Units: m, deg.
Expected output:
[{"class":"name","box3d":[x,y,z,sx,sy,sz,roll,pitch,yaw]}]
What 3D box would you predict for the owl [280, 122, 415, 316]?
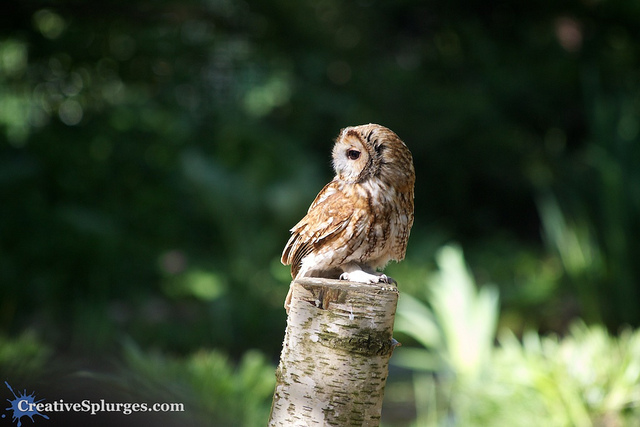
[{"class":"owl","box3d":[0.225,0.019,6.801,1.057,1.596,0.798,0,0,40]}]
